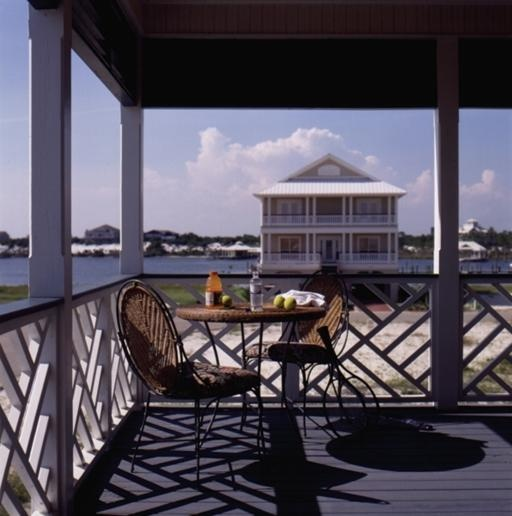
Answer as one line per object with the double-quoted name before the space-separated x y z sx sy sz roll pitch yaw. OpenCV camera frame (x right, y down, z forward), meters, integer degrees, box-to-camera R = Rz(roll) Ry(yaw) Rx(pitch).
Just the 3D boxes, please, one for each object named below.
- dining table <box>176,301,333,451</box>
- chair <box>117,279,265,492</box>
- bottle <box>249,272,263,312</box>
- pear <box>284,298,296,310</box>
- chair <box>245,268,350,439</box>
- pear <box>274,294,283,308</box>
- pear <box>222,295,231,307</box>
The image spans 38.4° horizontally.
"dining table" -0.019 0.573 4.103 0.653 0.568 0.705 -1 2 -18
"chair" -0.351 0.613 3.931 0.673 1.179 0.553 -9 7 -43
"bottle" 0.000 0.200 4.233 0.065 0.268 0.067 -2 -27 -1
"pear" 0.189 0.254 4.064 0.053 0.069 0.061 -7 5 16
"chair" 0.260 0.553 4.519 0.600 1.028 0.477 5 -6 -42
"pear" 0.134 0.241 4.190 0.051 0.073 0.054 3 -8 -32
"pear" -0.162 0.242 4.188 0.045 0.055 0.051 -3 6 14
